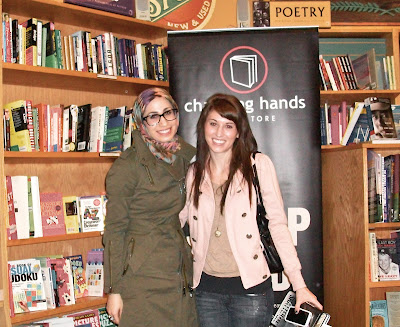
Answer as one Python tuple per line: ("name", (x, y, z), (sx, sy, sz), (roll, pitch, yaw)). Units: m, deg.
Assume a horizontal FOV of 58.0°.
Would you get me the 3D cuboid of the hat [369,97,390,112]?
("hat", (1.493, -0.478, 2.949), (0.127, 0.117, 0.293), (-1, 2, 43))
